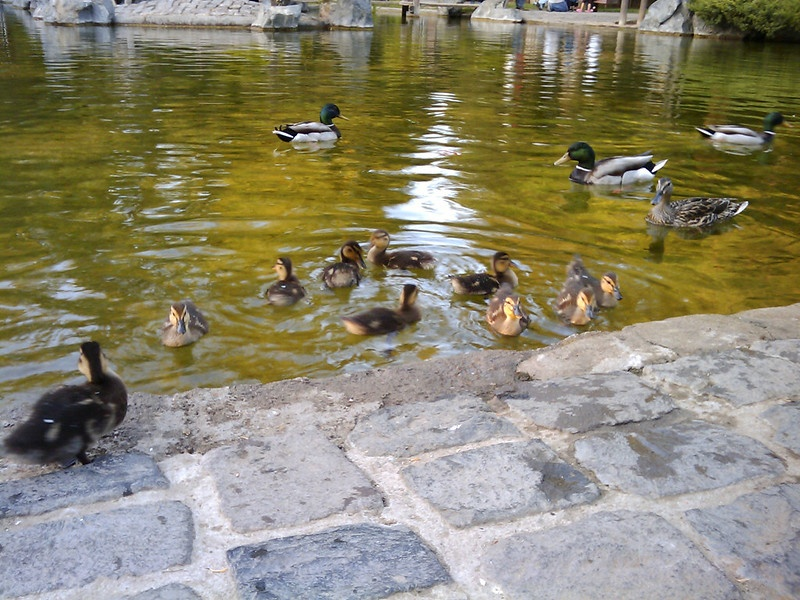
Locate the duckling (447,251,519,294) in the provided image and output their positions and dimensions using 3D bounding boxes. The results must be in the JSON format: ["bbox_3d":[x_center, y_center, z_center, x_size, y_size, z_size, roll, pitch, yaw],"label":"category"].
[{"bbox_3d":[0.846,-0.268,7.007,0.861,0.367,0.396,-4,16,-22],"label":"duckling"}]

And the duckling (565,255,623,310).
[{"bbox_3d":[1.827,-0.199,6.690,0.416,0.380,0.714,-5,35,-24],"label":"duckling"}]

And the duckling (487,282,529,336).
[{"bbox_3d":[0.983,0.088,6.153,0.435,0.340,0.465,-3,51,4],"label":"duckling"}]

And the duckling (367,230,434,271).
[{"bbox_3d":[-0.038,-0.540,7.380,0.819,0.317,0.445,1,3,9],"label":"duckling"}]
